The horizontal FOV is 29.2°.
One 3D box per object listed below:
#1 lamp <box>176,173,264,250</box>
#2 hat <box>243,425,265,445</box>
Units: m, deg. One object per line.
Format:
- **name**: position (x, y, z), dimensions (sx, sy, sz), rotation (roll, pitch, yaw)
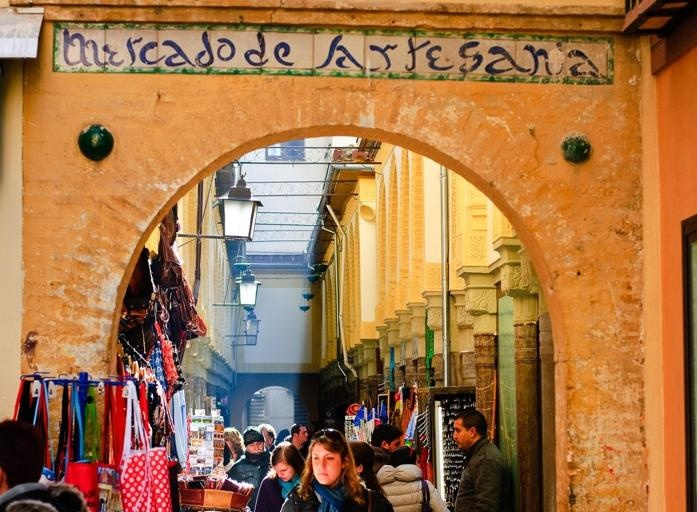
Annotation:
- **lamp**: position (-1.534, -0.574, 15.270), dimensions (1.170, 0.900, 0.547), rotation (6, -16, -14)
- **hat**: position (-0.974, 1.820, 13.521), dimensions (0.149, 0.190, 0.209), rotation (-7, 9, 1)
